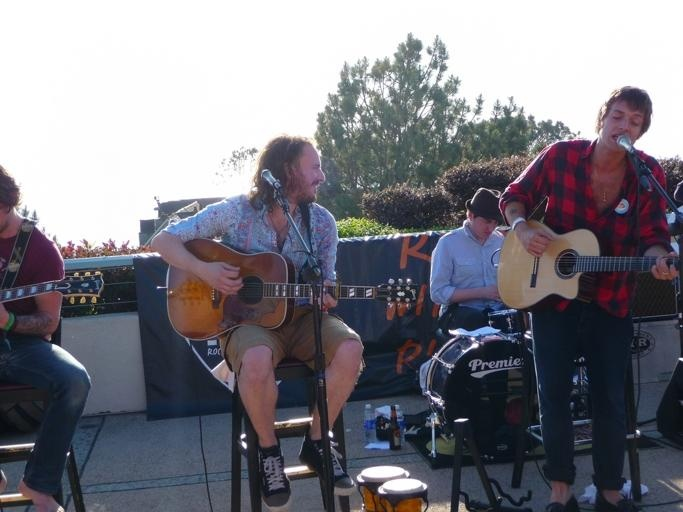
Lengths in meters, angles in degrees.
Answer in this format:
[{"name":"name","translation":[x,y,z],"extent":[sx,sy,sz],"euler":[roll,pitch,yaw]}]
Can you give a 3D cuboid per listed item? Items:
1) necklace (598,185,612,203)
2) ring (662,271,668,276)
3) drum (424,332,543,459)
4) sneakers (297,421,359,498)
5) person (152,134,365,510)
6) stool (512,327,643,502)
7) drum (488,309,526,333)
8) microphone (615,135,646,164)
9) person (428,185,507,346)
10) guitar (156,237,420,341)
[{"name":"necklace","translation":[1.636,-0.393,3.641],"extent":[0.079,0.101,0.021],"euler":[8,8,25]},{"name":"ring","translation":[1.833,0.097,3.324],"extent":[0.033,0.030,0.020],"euler":[-3,-5,32]},{"name":"drum","translation":[1.051,1.024,4.788],"extent":[0.732,1.010,0.866],"euler":[5,11,-6]},{"name":"sneakers","translation":[-0.117,1.239,3.706],"extent":[0.177,0.304,0.565],"euler":[-6,10,-30]},{"name":"person","translation":[-0.560,0.256,3.878],"extent":[1.071,2.812,1.137],"euler":[-1,1,-26]},{"name":"stool","translation":[1.568,1.202,4.435],"extent":[0.914,1.614,1.045],"euler":[0,1,12]},{"name":"drum","translation":[1.284,0.504,4.532],"extent":[0.077,0.203,0.257],"euler":[-8,-8,-31]},{"name":"microphone","translation":[1.684,-0.614,3.401],"extent":[0.134,0.174,0.214],"euler":[-4,-6,44]},{"name":"person","translation":[1.257,0.436,5.398],"extent":[0.632,2.058,0.655],"euler":[-5,4,-35]},{"name":"guitar","translation":[-0.349,0.241,3.839],"extent":[1.506,0.799,0.264],"euler":[3,2,4]}]
